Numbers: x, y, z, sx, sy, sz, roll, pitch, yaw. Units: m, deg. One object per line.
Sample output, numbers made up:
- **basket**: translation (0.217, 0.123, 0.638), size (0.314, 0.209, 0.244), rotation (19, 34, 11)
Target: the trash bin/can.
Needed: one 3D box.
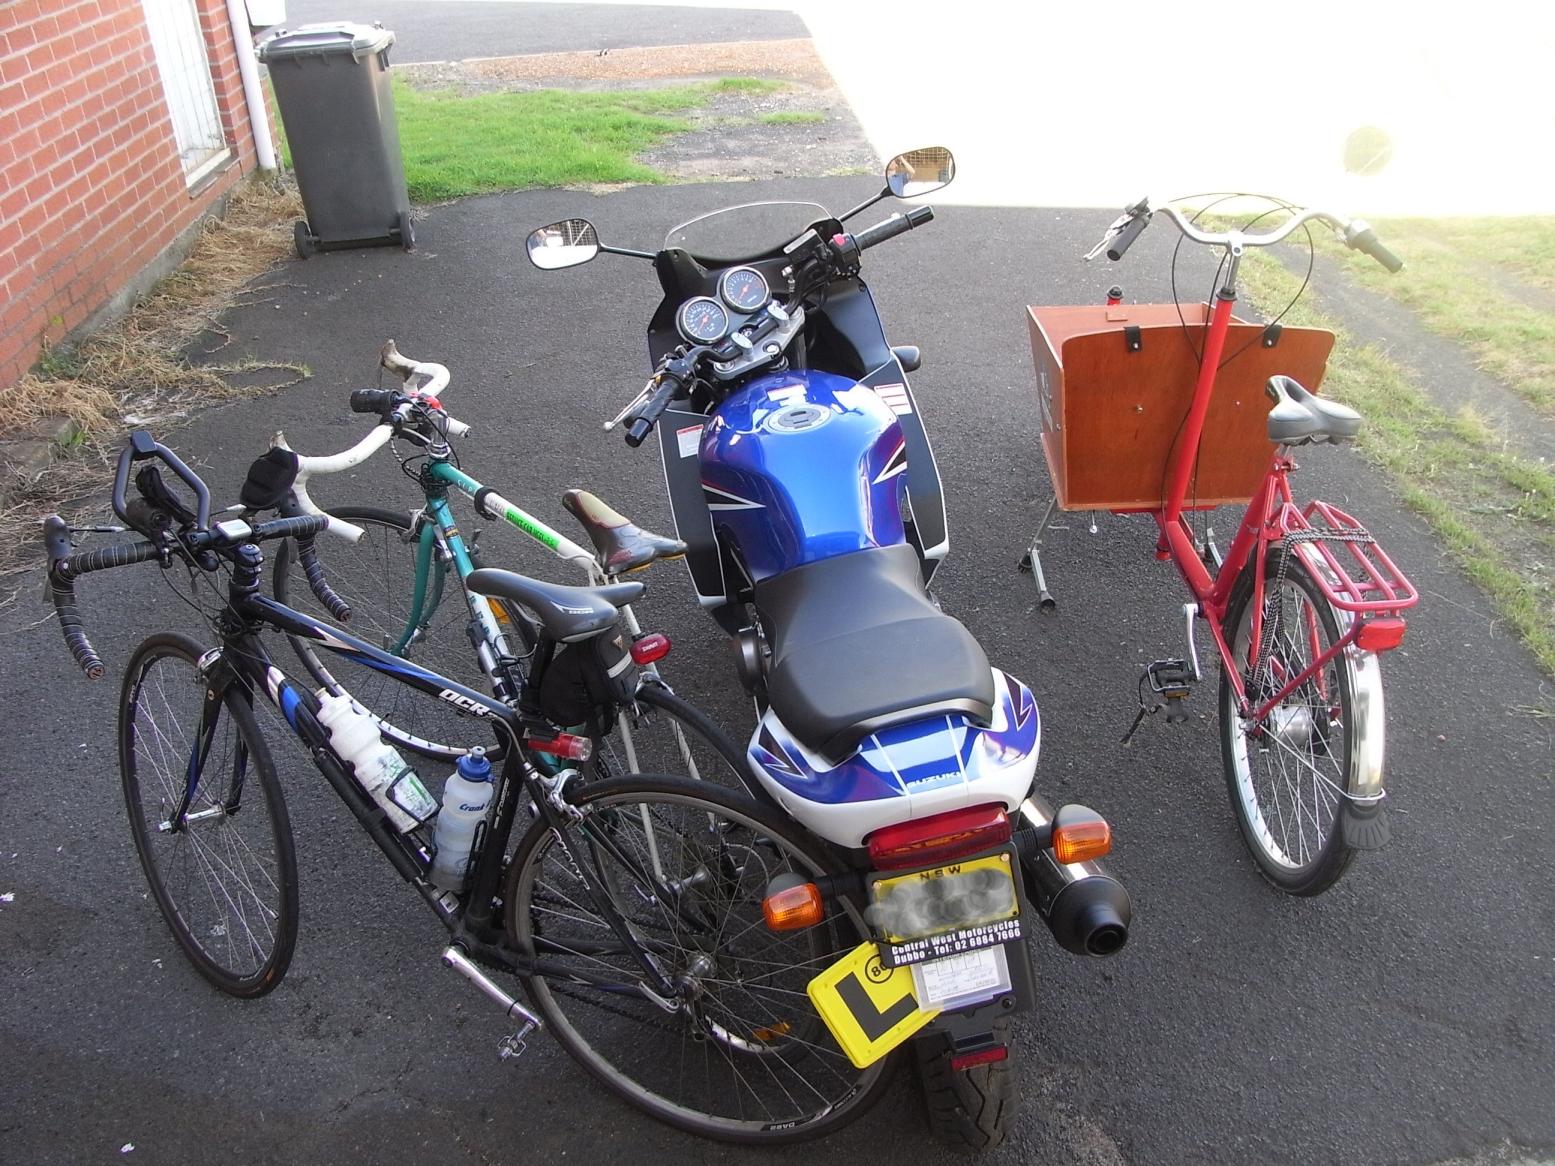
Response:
- **trash bin/can**: translation (-2.952, -2.981, 7.792), size (0.804, 1.377, 0.446), rotation (-10, 36, -11)
